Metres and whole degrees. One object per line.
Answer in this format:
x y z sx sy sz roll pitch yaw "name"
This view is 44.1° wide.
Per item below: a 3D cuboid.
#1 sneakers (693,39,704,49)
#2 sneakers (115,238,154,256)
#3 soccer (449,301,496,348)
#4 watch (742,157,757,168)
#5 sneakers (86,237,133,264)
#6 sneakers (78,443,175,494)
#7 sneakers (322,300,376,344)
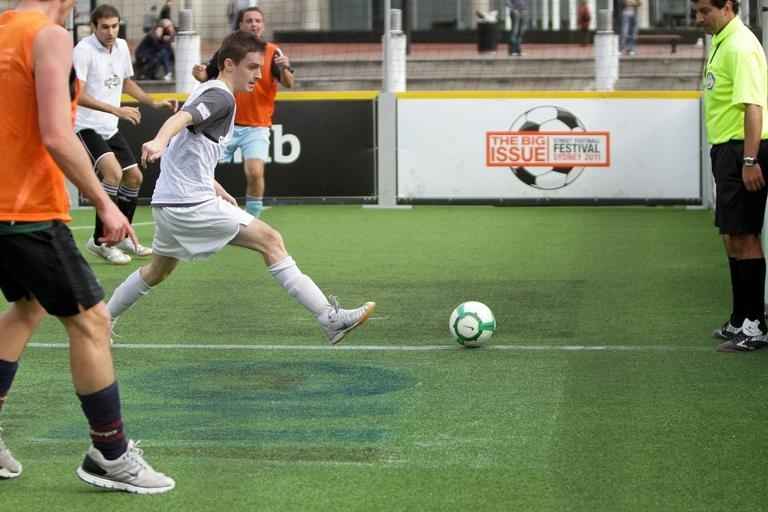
6.587 -4.439 19.761 0.251 0.221 0.246 13 24 30 "sneakers"
-2.228 -0.080 8.404 0.332 0.133 0.116 7 20 11 "sneakers"
0.598 0.434 6.470 0.301 0.292 0.305 -11 6 27 "soccer"
2.344 -0.607 6.058 0.066 0.058 0.071 7 2 18 "watch"
-2.406 -0.046 8.293 0.313 0.128 0.109 21 43 -2 "sneakers"
-1.225 1.013 4.570 0.498 0.230 0.186 13 -4 -7 "sneakers"
-0.235 0.449 6.322 0.322 0.224 0.118 -33 17 15 "sneakers"
